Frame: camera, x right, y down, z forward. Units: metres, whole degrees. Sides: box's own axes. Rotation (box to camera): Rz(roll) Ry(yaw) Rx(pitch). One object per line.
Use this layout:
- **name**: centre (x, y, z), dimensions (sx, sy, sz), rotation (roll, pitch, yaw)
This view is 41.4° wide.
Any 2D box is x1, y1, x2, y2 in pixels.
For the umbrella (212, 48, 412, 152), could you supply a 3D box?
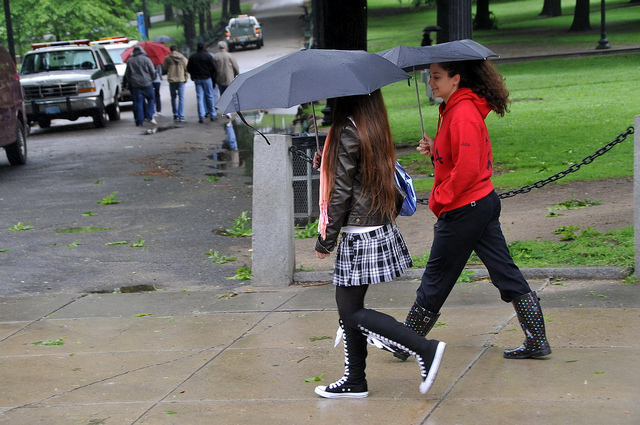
- **umbrella**: centre (-0.096, -1.170, 8.277), dimensions (1.344, 0.484, 0.979), rotation (-10, 19, 0)

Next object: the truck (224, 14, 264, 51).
- **truck**: centre (-5.351, -11.833, 57.443), dimensions (2.271, 1.235, 3.720), rotation (-9, 4, -5)

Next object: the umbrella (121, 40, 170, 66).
- **umbrella**: centre (-5.855, -5.366, 27.970), dimensions (1.832, 0.391, 1.206), rotation (-1, 31, 4)

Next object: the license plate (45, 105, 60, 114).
- **license plate**: centre (-7.784, -3.020, 24.485), dimensions (0.452, 0.149, 0.042), rotation (-1, 4, -4)

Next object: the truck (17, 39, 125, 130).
- **truck**: centre (-7.990, -4.485, 26.462), dimensions (3.518, 1.694, 4.193), rotation (1, 28, -3)

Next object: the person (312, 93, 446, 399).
- **person**: centre (0.405, 0.345, 8.100), dimensions (1.194, 2.931, 1.098), rotation (-5, 20, 5)

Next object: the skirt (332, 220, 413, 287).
- **skirt**: centre (0.487, 0.396, 8.103), dimensions (0.766, 0.604, 0.372), rotation (-4, 19, 2)

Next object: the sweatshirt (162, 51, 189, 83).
- **sweatshirt**: centre (-4.377, -4.374, 25.382), dimensions (0.731, 0.952, 0.791), rotation (-8, 18, -7)
